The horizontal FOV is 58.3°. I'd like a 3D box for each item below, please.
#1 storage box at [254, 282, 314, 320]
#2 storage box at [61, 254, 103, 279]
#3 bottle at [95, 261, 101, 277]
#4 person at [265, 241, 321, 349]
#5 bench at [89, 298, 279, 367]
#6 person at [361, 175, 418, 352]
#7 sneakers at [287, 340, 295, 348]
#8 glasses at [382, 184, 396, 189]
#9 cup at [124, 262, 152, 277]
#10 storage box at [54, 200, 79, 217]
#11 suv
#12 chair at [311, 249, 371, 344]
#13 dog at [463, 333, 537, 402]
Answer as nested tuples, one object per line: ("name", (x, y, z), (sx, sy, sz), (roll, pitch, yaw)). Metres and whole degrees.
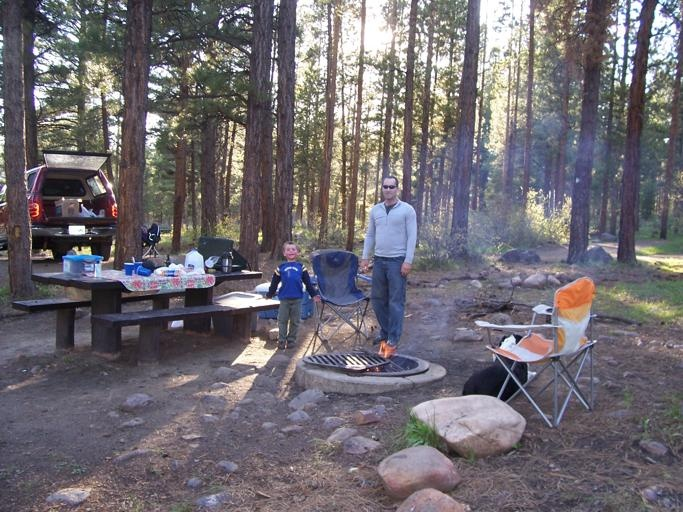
("storage box", (-0.943, 0.837, 10.569), (0.705, 0.382, 0.730), (1, 1, -17))
("storage box", (-3.486, 0.121, 8.206), (0.779, 0.255, 0.402), (3, 7, 36))
("bottle", (-3.240, 0.174, 8.074), (0.092, 0.158, 0.241), (-4, 6, -22))
("person", (-0.697, 0.703, 8.722), (0.746, 1.240, 0.534), (0, 6, 8))
("bench", (-2.281, 0.976, 8.590), (2.435, 0.672, 1.176), (-7, 8, -44))
("person", (0.664, 0.131, 8.223), (0.740, 2.409, 0.968), (-3, 6, -15))
("sneakers", (-0.739, 1.256, 8.869), (0.142, 0.111, 0.082), (1, 2, 16))
("glasses", (0.639, -0.914, 8.014), (0.168, 0.072, 0.116), (-1, 6, 3))
("cup", (-2.770, 0.184, 8.287), (0.324, 0.125, 0.199), (-1, -8, 31))
("storage box", (-6.518, -1.126, 14.424), (0.317, 0.444, 0.452), (-3, -2, 44))
("suv", (-7.074, -1.427, 15.124), (2.214, 2.445, 3.746), (-3, 12, -32))
("chair", (-0.014, 0.636, 8.600), (1.016, 1.316, 1.156), (0, 8, 17))
("dog", (1.657, 1.297, 6.784), (0.359, 0.591, 1.229), (25, 28, 34))
